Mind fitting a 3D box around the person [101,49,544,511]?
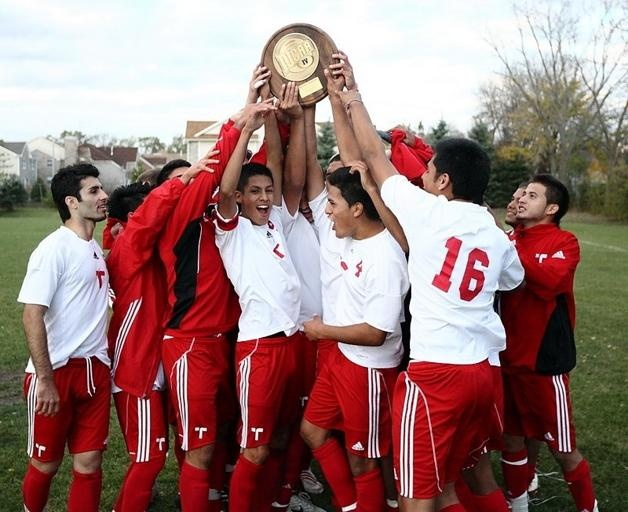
[{"bbox_3d":[0.667,0.181,4.983,1.368,3.259,0.962,7,9,41],"label":"person"}]
